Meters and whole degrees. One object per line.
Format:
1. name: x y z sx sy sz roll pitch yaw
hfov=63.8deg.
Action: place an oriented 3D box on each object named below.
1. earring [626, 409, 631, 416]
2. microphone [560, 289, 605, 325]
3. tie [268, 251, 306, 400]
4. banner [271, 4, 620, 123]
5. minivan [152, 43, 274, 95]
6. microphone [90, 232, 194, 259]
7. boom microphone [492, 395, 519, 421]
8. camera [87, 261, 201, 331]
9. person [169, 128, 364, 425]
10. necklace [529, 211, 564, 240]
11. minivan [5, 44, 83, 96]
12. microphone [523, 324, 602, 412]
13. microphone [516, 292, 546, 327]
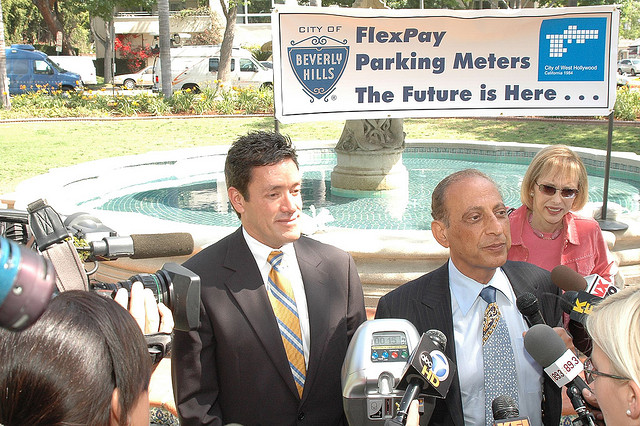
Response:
1. earring: 1.242 0.800 2.065 0.025 0.026 0.006 -6 -14 36
2. microphone: 1.454 0.528 2.814 0.195 0.146 0.266 -1 8 5
3. tie: -0.227 0.657 3.155 0.153 0.918 0.122 -9 -17 -9
4. banner: 1.457 -1.717 5.914 3.976 1.300 0.565 -2 9 -7
5. minivan: -5.374 -7.779 29.429 6.728 3.052 3.189 1 12 7
6. microphone: -0.905 0.159 2.662 0.128 0.138 0.586 -2 -2 38
7. boom microphone: 0.880 0.930 2.470 0.095 0.102 0.093 -2 38 -6
8. camera: -0.801 0.410 2.359 0.448 0.307 0.308 -5 9 -24
9. person: -0.319 0.406 3.136 1.211 1.794 0.598 -4 10 -18
10. necklace: 1.869 0.107 4.253 0.256 0.215 0.134 2 9 21
11. minivan: -14.862 -8.325 29.891 5.548 3.274 2.906 -6 14 -20
12. microphone: 1.129 0.705 2.456 0.258 0.403 0.302 -1 -4 2
13. microphone: 1.193 0.551 2.968 0.134 0.201 0.203 -2 8 -5
